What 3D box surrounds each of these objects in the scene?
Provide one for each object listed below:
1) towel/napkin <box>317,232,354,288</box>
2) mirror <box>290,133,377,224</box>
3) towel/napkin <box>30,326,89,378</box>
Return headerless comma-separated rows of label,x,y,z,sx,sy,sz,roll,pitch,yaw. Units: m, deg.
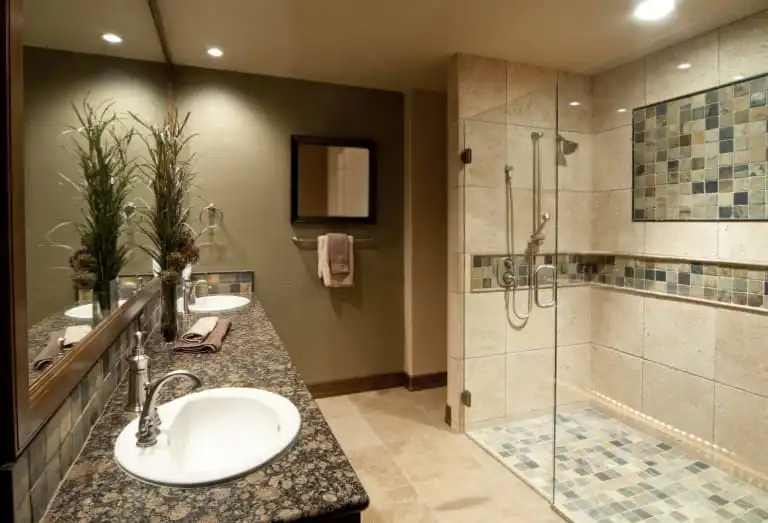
towel/napkin,-0.387,-0.022,4.088,0.323,0.404,0.117,-4,8,-18
mirror,-0.449,-0.686,4.154,0.740,0.721,0.058,-1,4,-24
towel/napkin,-1.051,0.315,1.661,0.085,0.019,0.207,18,18,-17
